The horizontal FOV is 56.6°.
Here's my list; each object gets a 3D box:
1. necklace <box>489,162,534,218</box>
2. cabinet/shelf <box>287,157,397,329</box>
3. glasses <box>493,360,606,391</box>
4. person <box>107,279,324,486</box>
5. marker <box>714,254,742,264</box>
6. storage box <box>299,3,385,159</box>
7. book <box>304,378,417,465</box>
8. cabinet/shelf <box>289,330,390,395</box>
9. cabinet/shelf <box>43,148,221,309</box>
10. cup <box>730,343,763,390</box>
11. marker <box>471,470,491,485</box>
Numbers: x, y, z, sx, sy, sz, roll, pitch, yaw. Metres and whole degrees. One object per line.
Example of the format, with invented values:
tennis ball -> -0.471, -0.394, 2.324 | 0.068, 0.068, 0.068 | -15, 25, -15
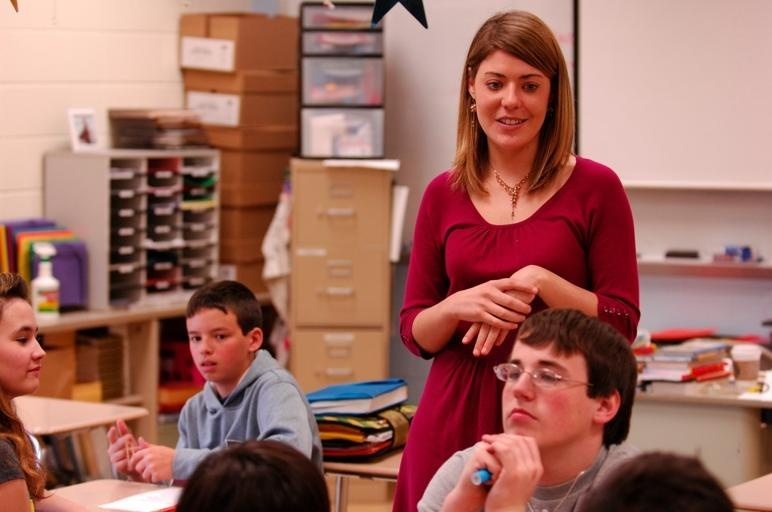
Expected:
necklace -> 0.307, -0.158, 1.739 | 0.135, 0.164, 0.024 | 2, -19, 1
cabinet/shelf -> -0.278, 0.074, 4.189 | 0.696, 1.000, 0.681 | 4, -12, -24
glasses -> 0.316, 0.241, 1.454 | 0.185, 0.046, 0.036 | -1, 1, 14
person -> -0.648, 0.413, 2.635 | 0.608, 0.849, 0.563 | -23, -27, 28
marker -> 1.668, 0.012, 3.510 | 0.120, 0.049, 0.020 | -1, 1, 44
storage box -> -0.250, -0.965, 3.954 | 0.465, 0.847, 0.179 | -1, 2, -9
book -> -0.060, 0.500, 2.232 | 0.218, 0.115, 0.277 | 1, 2, 25
cabinet/shelf -> -0.252, 0.497, 4.115 | 0.599, 0.574, 0.322 | -1, 0, -2
cabinet/shelf -> -1.453, -0.166, 4.180 | 0.423, 0.865, 0.910 | 7, 8, 26
cup -> 1.593, 0.492, 3.175 | 0.181, 0.180, 0.185 | 0, -3, 0
marker -> 0.185, 0.426, 1.383 | 0.035, 0.029, 0.022 | -1, 1, 0
